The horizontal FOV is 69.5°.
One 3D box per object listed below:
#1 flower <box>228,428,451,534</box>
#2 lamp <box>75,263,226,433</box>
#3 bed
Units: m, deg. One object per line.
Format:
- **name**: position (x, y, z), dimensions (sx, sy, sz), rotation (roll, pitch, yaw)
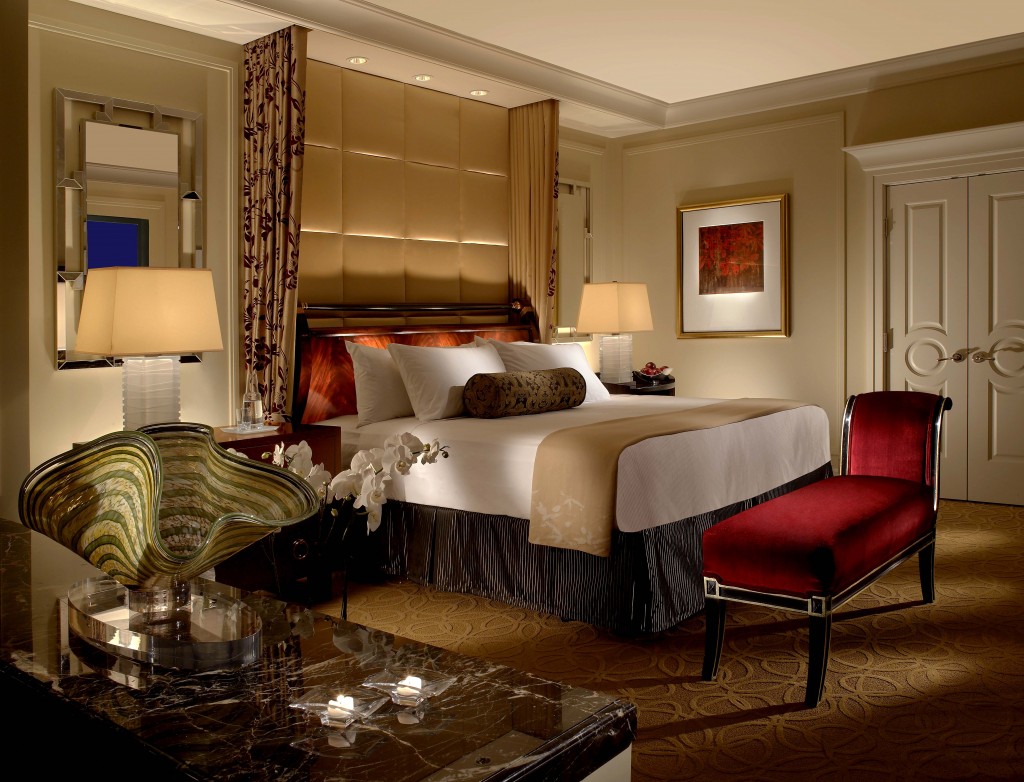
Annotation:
- **flower**: position (-0.383, 0.225, 1.670), dimensions (0.311, 0.233, 0.362), rotation (2, 6, 40)
- **lamp**: position (-1.680, -0.127, 3.367), dimensions (0.625, 0.791, 0.620), rotation (3, 6, 17)
- **bed**: position (0.168, 0.429, 4.042), dimensions (1.993, 1.253, 2.076), rotation (1, 4, 34)
